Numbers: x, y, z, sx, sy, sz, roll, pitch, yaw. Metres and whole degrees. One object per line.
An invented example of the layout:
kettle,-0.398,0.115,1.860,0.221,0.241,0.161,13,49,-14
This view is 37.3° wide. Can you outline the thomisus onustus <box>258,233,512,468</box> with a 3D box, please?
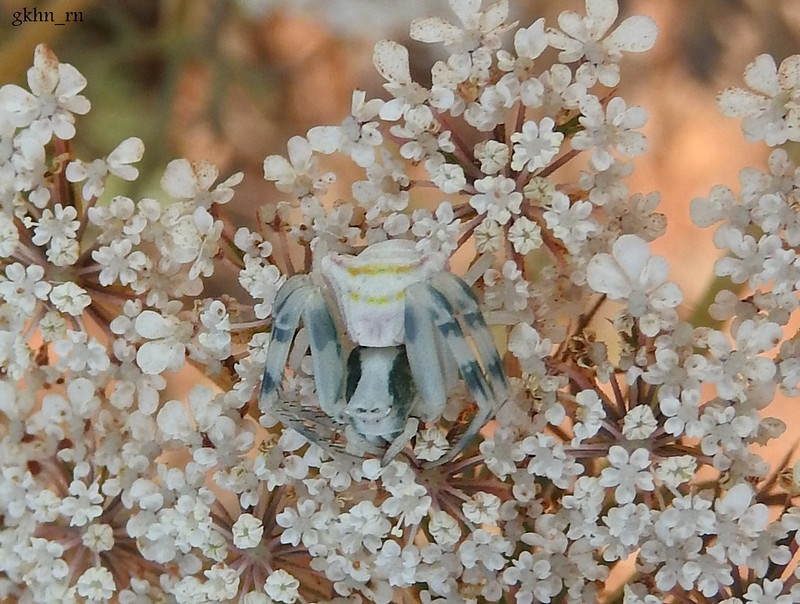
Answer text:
thomisus onustus,-0.025,0.096,2.228,0.393,0.128,0.449,-1,93,3
